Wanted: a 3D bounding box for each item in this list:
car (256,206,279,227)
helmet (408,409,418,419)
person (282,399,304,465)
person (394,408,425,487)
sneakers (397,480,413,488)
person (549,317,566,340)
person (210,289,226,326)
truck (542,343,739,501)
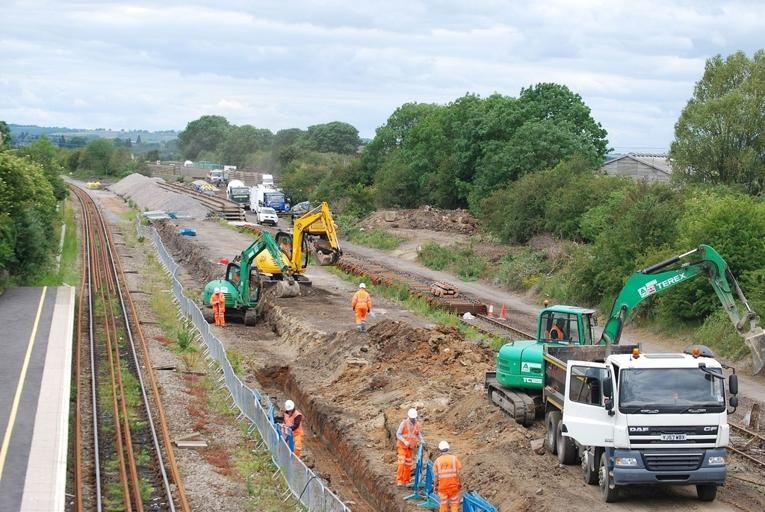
[{"bbox_3d":[-11.747,-3.930,71.688,1.370,1.229,3.125,-1,-1,-14],"label":"car"},{"bbox_3d":[0.797,4.246,19.144,0.244,0.161,0.364,1,-2,-2],"label":"helmet"},{"bbox_3d":[-2.659,5.211,21.293,0.758,1.743,0.687,-2,6,2],"label":"person"},{"bbox_3d":[0.655,5.220,19.348,0.560,2.227,0.830,5,4,4],"label":"person"},{"bbox_3d":[0.585,6.292,19.483,0.215,0.076,0.227,-3,1,-20],"label":"sneakers"},{"bbox_3d":[5.353,2.265,21.783,0.456,0.741,0.843,-2,14,6],"label":"person"},{"bbox_3d":[-8.236,2.579,35.434,0.614,1.928,0.939,4,4,-9],"label":"person"},{"bbox_3d":[6.929,4.600,20.686,4.755,3.545,7.358,1,-5,1],"label":"truck"}]
